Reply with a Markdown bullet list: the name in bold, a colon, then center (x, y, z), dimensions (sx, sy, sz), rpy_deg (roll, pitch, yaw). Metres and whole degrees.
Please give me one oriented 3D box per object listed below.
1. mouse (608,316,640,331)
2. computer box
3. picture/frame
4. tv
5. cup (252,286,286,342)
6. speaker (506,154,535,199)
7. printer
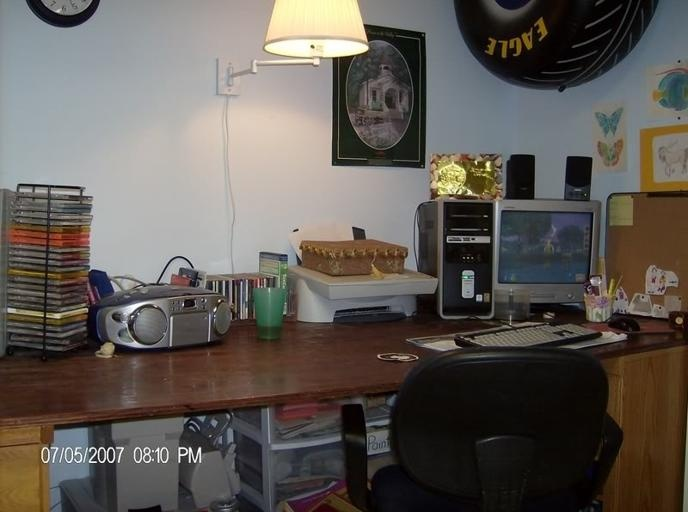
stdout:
- **mouse**: center (0.992, 0.226, 1.907), dimensions (0.082, 0.028, 0.057), rpy_deg (2, 6, -43)
- **computer box**: center (0.452, -0.014, 2.192), dimensions (0.250, 0.443, 0.335), rpy_deg (-2, 10, -14)
- **picture/frame**: center (0.129, -0.658, 2.238), dimensions (0.637, 0.784, 0.054), rpy_deg (0, 0, -27)
- **tv**: center (0.793, -0.011, 2.143), dimensions (0.423, 0.429, 0.236), rpy_deg (0, 2, -8)
- **cup**: center (-0.235, 0.176, 1.708), dimensions (0.097, 0.157, 0.113), rpy_deg (1, 1, 6)
- **speaker**: center (0.728, -0.328, 2.249), dimensions (0.110, 0.180, 0.279), rpy_deg (4, 10, 16)
- **printer**: center (0.057, 0.131, 1.913), dimensions (0.456, 0.203, 0.283), rpy_deg (-1, 9, -29)
